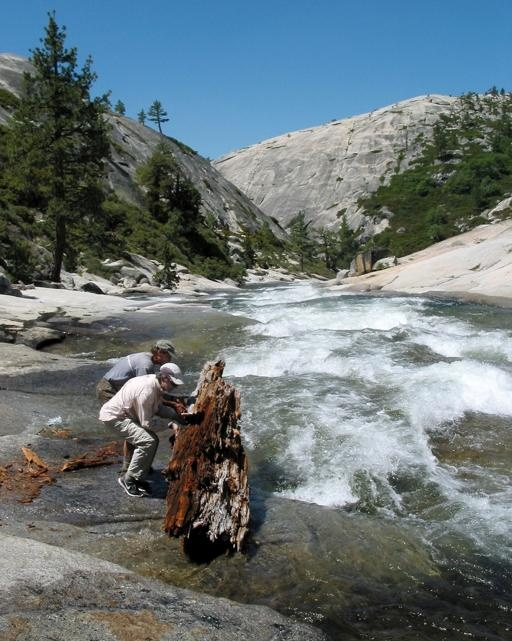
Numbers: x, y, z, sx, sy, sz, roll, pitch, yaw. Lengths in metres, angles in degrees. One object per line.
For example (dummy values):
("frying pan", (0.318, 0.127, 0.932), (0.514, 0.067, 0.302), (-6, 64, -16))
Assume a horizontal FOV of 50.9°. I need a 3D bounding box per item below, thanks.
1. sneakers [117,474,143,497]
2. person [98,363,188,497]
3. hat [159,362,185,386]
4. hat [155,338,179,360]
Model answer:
("sneakers", (-1.288, 1.728, 5.627), (0.324, 0.130, 0.127), (33, 8, 19))
("person", (-1.209, 1.127, 5.639), (0.843, 1.414, 0.536), (4, 12, -8))
("hat", (-0.890, 0.577, 5.586), (0.224, 0.259, 0.353), (4, 10, -11))
("hat", (-0.990, 0.335, 5.772), (0.205, 0.259, 0.278), (3, 11, -13))
